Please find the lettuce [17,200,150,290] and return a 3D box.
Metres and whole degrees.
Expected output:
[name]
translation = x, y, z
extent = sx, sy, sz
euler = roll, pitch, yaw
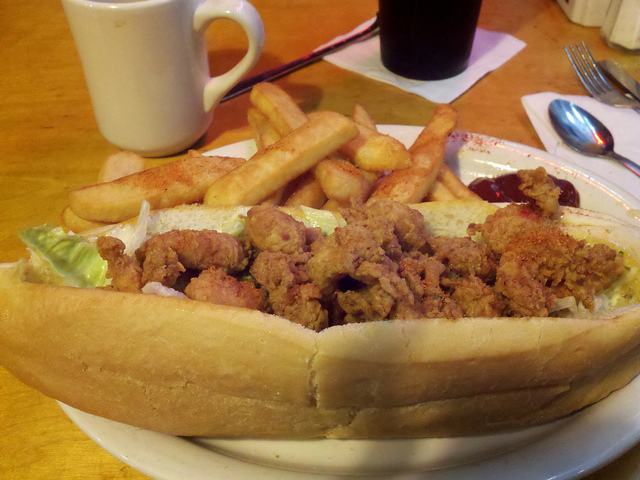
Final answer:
[lettuce]
translation = -0.951, -0.015, 2.539
extent = 0.527, 0.199, 0.394
euler = -30, 21, -4
